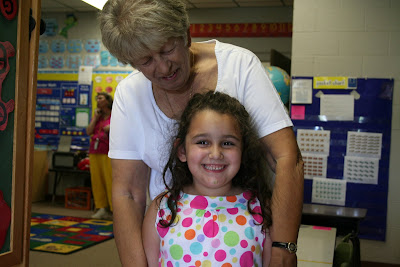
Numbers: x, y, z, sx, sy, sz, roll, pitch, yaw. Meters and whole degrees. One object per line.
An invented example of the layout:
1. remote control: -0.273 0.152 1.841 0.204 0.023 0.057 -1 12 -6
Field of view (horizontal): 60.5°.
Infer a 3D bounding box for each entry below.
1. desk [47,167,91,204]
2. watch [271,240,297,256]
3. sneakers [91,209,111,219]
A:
1. desk: -2.348 0.836 6.340 0.708 0.740 0.493 4 11 18
2. watch: 0.364 0.480 1.467 0.110 0.060 0.052 1 4 3
3. sneakers: -1.615 1.295 5.573 0.298 0.131 0.128 5 -3 -19
